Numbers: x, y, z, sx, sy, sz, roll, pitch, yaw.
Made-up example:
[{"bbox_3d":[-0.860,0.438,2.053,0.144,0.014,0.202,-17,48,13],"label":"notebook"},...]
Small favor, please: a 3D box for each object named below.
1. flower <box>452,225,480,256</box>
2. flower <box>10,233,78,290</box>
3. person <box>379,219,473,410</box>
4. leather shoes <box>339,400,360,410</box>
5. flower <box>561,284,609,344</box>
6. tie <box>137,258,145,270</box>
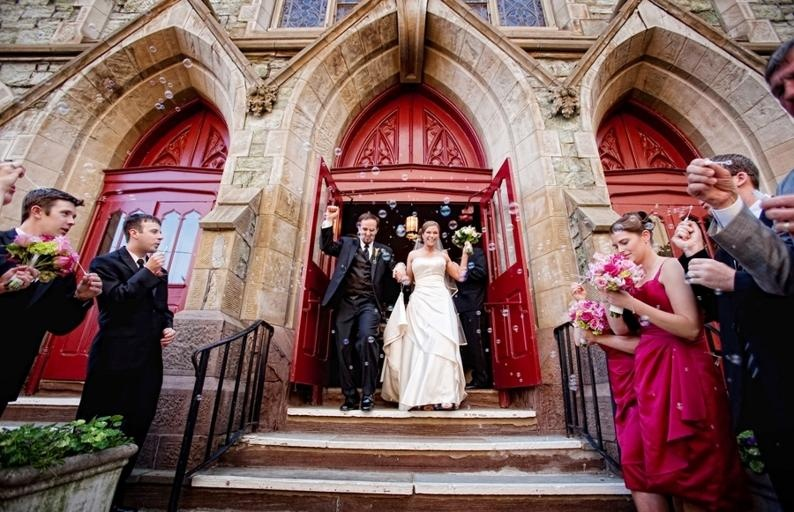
[{"bbox_3d":[1.102,-0.295,6.680,0.475,0.477,0.452,-9,-8,3],"label":"flower"},{"bbox_3d":[-3.260,0.009,3.883,0.487,0.464,0.479,30,-17,-22],"label":"flower"},{"bbox_3d":[0.388,0.805,6.003,1.142,2.626,0.629,-2,-19,10],"label":"person"},{"bbox_3d":[-0.630,1.994,5.567,0.260,0.139,0.271,3,-17,-5],"label":"leather shoes"},{"bbox_3d":[1.871,0.606,4.257,0.471,0.350,0.578,4,-28,4],"label":"flower"},{"bbox_3d":[-2.870,0.080,4.639,0.032,0.115,0.123,-20,-18,41],"label":"tie"}]
